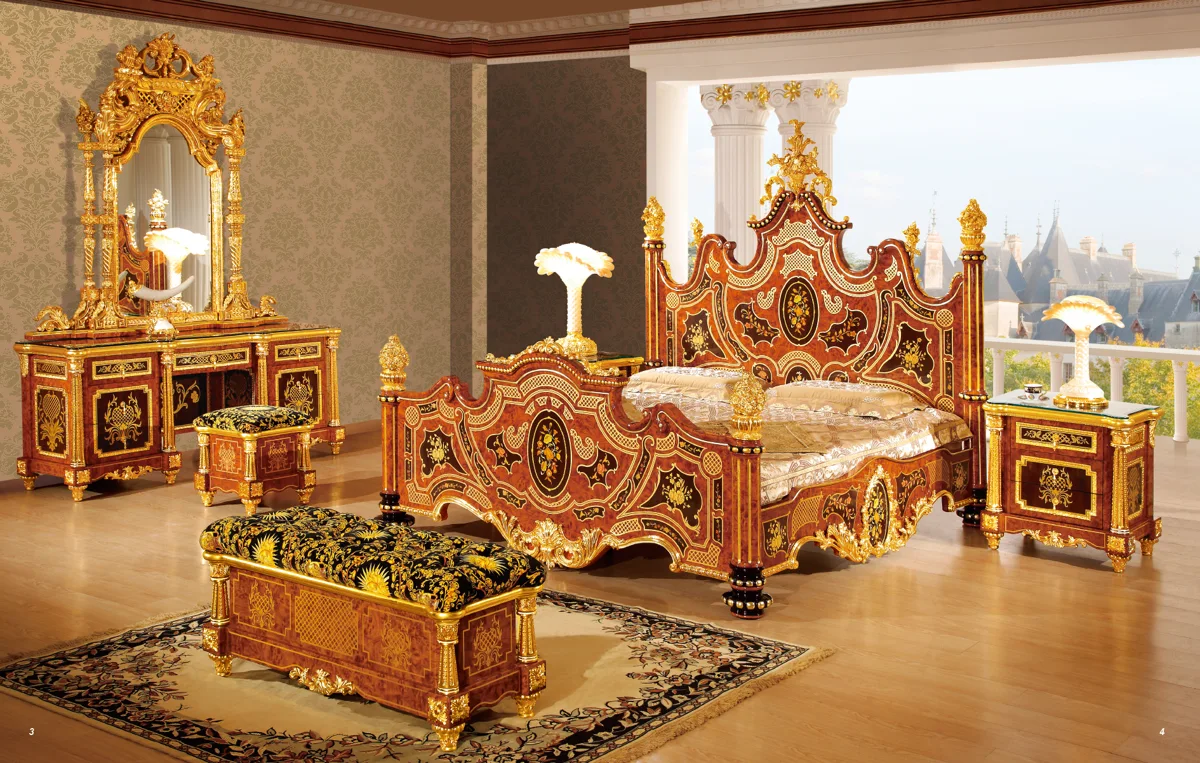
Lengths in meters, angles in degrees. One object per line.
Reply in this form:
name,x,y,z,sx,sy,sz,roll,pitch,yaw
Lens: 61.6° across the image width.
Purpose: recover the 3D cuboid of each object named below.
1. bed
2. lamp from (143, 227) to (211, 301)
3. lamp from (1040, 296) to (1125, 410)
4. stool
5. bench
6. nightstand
bed,0.636,-0.199,7.003,3.025,2.434,3.184,8,10,40
lamp,-3.529,-1.029,8.418,0.500,0.512,0.512,3,7,27
lamp,3.110,-0.180,6.468,0.481,0.706,0.461,0,-5,43
stool,-2.713,0.549,7.614,0.792,0.885,0.802,2,3,41
bench,-1.079,1.089,4.731,1.603,0.812,0.527,6,15,25
nightstand,3.017,0.627,6.494,0.603,0.865,0.980,-9,9,-43
